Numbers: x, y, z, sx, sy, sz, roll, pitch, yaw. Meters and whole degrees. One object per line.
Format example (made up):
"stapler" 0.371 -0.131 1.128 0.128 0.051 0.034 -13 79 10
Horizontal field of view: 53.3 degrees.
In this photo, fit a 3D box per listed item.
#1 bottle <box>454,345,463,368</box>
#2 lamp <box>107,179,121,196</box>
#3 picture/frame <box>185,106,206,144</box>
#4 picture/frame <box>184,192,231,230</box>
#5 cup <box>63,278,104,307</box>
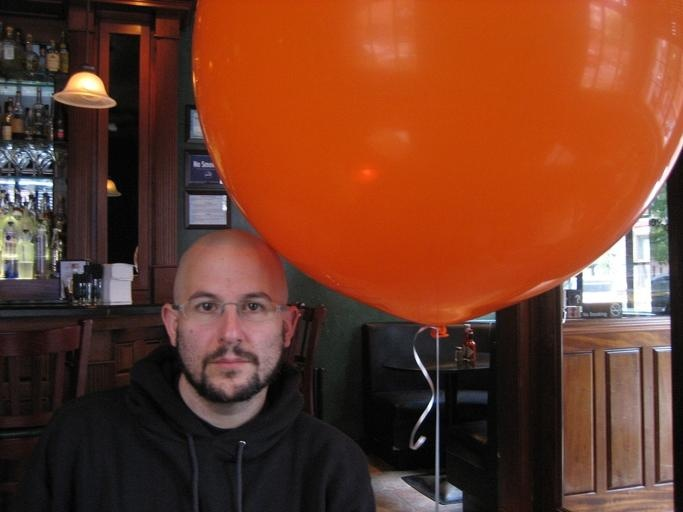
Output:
"bottle" 0.612 0.533 3.608 0.046 0.135 0.131 1 -3 2
"lamp" -1.386 -0.412 4.098 0.083 0.093 0.089 -2 -7 -9
"picture/frame" -0.891 -0.810 4.173 0.199 0.225 0.012 11 15 42
"picture/frame" -0.849 -0.284 4.188 0.301 0.269 0.024 0 0 -16
"cup" -1.252 0.175 3.314 0.120 0.122 0.065 2 3 8
